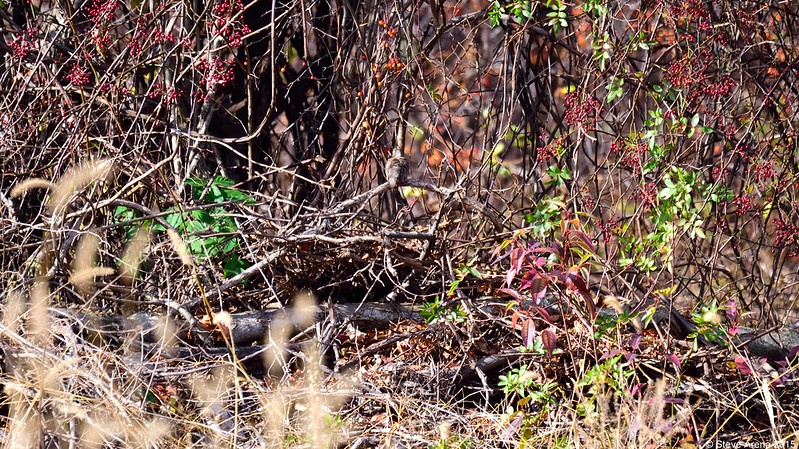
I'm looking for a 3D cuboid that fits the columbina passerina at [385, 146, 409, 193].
[{"bbox_3d":[-0.025,-0.442,7.450,0.115,0.125,0.351,8,42,2],"label":"columbina passerina"}]
